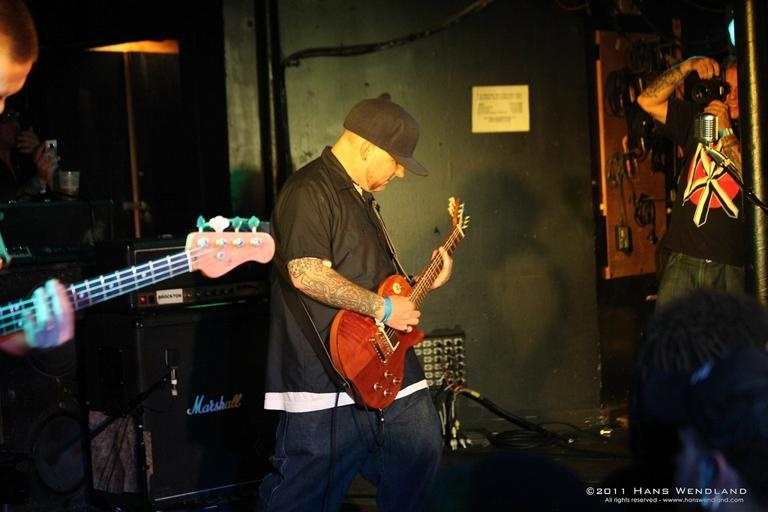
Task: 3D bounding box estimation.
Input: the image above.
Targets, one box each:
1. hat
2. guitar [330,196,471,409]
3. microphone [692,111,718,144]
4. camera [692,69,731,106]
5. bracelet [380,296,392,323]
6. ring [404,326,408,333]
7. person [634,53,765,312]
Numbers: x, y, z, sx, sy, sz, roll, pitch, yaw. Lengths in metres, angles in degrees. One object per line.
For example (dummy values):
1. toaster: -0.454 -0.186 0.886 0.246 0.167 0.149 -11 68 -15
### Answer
1. hat: 0.041 -0.675 4.131 0.493 0.243 0.324 31 12 -9
2. guitar: 0.130 0.228 4.258 0.146 1.382 0.556 -7 -48 42
3. microphone: 1.973 -0.778 4.635 0.120 0.174 0.237 6 14 18
4. camera: 2.338 -1.184 5.397 0.231 0.223 0.226 -1 1 -40
5. bracelet: 0.018 0.283 3.952 0.025 0.102 0.101 3 -14 -7
6. ring: 0.125 0.404 4.102 0.031 0.029 0.007 -7 37 -11
7. person: 2.170 -0.473 5.041 0.641 1.659 1.163 1 13 -5
